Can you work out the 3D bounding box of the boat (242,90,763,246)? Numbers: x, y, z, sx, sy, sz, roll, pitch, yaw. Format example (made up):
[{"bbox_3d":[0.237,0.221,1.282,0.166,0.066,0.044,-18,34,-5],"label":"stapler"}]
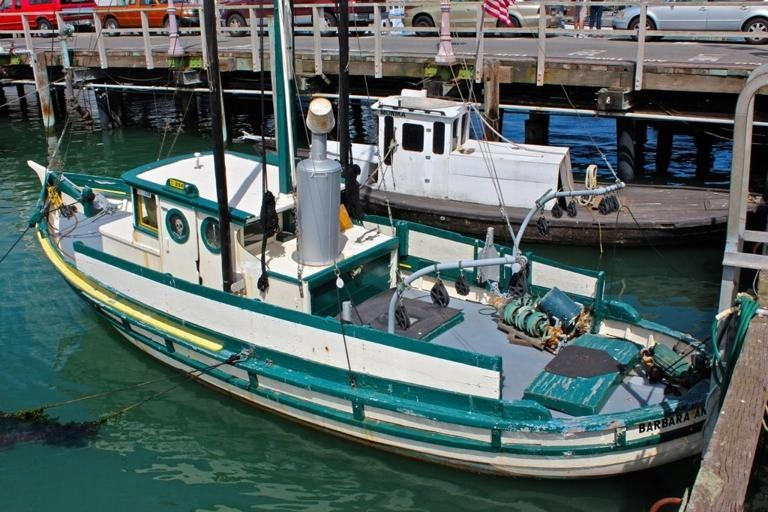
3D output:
[{"bbox_3d":[3.090,-2.131,18.927,11.671,3.107,3.043,10,22,17],"label":"boat"}]
